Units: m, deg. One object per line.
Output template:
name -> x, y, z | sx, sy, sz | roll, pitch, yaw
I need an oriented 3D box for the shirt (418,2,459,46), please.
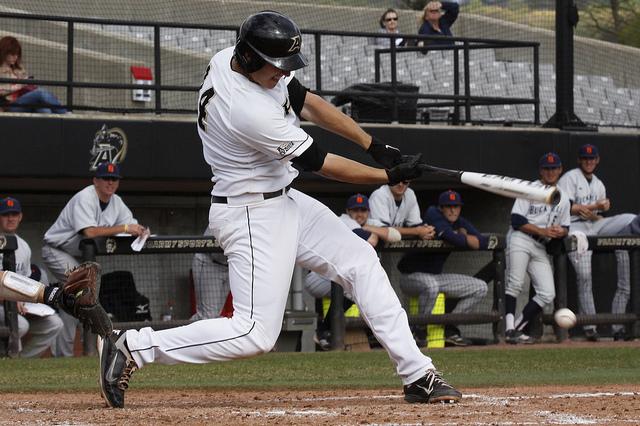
shirt -> 1.624, -2.526, 17.362 | 0.469, 0.631, 0.844 | 0, 1, 36

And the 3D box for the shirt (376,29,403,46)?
shirt -> 0.880, -2.314, 17.259 | 0.342, 0.236, 0.122 | 1, -18, 28

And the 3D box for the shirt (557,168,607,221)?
shirt -> 3.271, -0.185, 16.433 | 0.458, 0.771, 0.522 | -2, -1, -7

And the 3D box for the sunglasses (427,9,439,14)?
sunglasses -> 1.504, -2.682, 17.237 | 0.124, 0.055, 0.026 | -1, 1, 3

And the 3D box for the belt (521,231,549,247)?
belt -> 2.645, 0.326, 15.905 | 0.227, 0.068, 0.167 | 28, -2, 11

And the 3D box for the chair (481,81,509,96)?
chair -> 2.426, -1.733, 18.208 | 0.237, 0.210, 0.469 | -1, 1, -11

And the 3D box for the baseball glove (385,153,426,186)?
baseball glove -> 0.797, -0.423, 12.460 | 0.366, 0.284, 0.240 | -1, 1, -1

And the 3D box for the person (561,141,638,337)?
person -> 3.481, 0.374, 16.315 | 1.130, 2.261, 0.853 | -2, -1, -3

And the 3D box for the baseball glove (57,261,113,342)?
baseball glove -> -2.242, 0.856, 12.418 | 0.533, 0.741, 0.275 | -1, 1, -1

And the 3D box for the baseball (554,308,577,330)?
baseball -> 2.917, 1.309, 15.622 | 0.277, 0.236, 0.231 | 26, -17, -14

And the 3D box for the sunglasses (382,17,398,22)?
sunglasses -> 0.921, -2.585, 17.306 | 0.175, 0.072, 0.134 | -1, 1, 2
